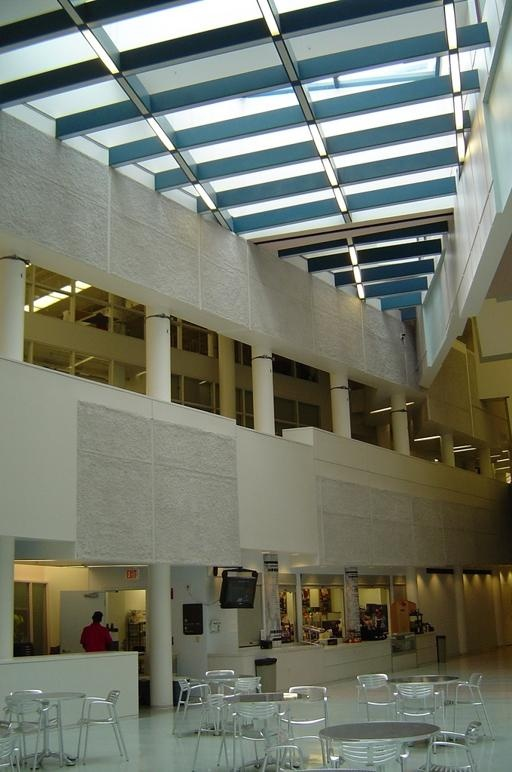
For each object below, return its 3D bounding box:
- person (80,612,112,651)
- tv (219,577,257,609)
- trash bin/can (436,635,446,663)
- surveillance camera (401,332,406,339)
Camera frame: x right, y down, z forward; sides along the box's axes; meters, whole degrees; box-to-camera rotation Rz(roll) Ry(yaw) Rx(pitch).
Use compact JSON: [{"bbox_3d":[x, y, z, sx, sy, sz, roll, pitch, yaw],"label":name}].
[{"bbox_3d":[-2.818,4.347,11.513,0.487,0.663,2.077,0,-19,-14],"label":"person"},{"bbox_3d":[-0.382,4.193,13.214,0.323,0.670,0.681,2,-6,43],"label":"tv"},{"bbox_3d":[5.907,8.433,20.869,0.314,0.780,0.670,-8,-18,13],"label":"trash bin/can"},{"bbox_3d":[4.742,-1.601,21.007,0.135,0.191,0.186,-2,-1,43],"label":"surveillance camera"}]
